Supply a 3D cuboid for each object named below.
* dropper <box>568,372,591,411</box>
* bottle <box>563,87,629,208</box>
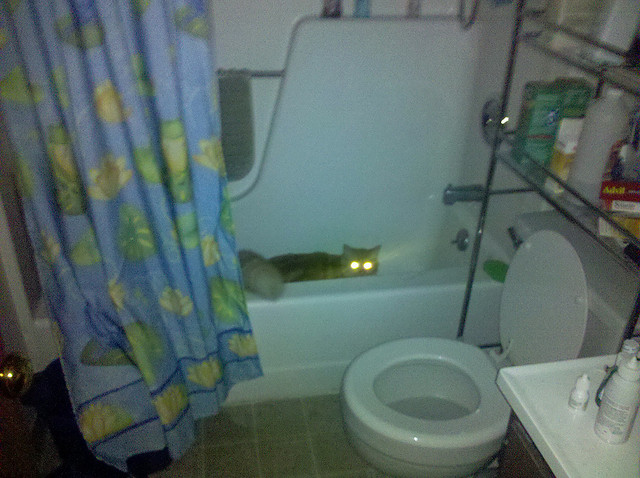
[{"bbox_3d":[0.617,0.367,1.249,0.037,0.094,0.038,24,41,31],"label":"dropper"},{"bbox_3d":[0.801,-0.265,1.519,0.049,0.302,0.140,7,16,-23],"label":"bottle"}]
